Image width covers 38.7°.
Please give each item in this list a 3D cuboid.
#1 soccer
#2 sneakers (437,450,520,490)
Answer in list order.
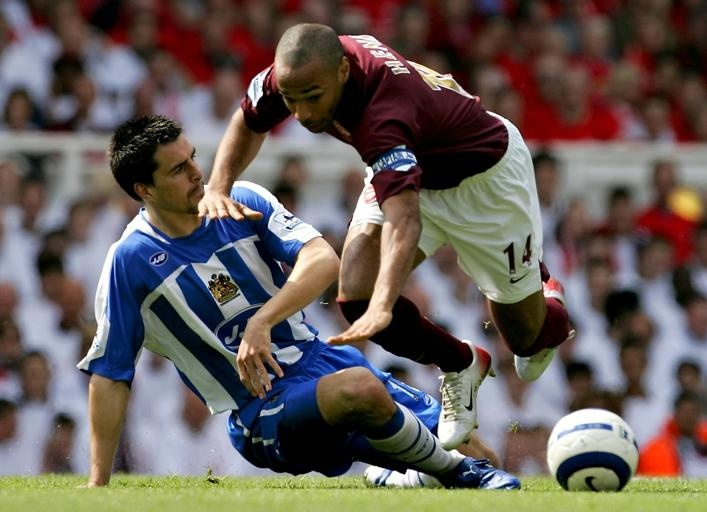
[{"bbox_3d":[1.482,1.161,6.391,0.488,0.583,0.494,-7,-7,-4],"label":"soccer"},{"bbox_3d":[0.798,1.341,6.380,0.505,0.233,0.213,-1,-4,6],"label":"sneakers"}]
